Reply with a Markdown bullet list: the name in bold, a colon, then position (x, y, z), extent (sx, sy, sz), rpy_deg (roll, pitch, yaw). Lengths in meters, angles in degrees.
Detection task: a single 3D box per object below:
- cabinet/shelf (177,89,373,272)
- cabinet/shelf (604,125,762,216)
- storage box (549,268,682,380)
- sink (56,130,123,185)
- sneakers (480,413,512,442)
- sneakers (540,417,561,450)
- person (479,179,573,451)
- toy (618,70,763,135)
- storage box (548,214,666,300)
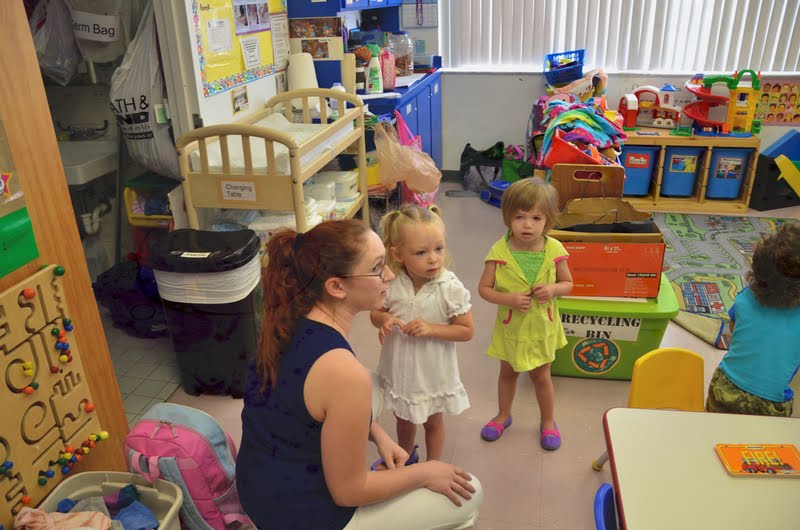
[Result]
- **cabinet/shelf**: position (-0.742, -0.593, 3.773), extent (0.712, 0.850, 1.376), rpy_deg (2, 26, 10)
- **cabinet/shelf**: position (2.337, -0.774, 4.708), extent (0.861, 0.492, 0.299), rpy_deg (1, 17, 6)
- **storage box**: position (1.143, 0.328, 3.227), extent (0.610, 0.369, 0.449), rpy_deg (2, 30, 6)
- **sink**: position (-1.817, -0.638, 3.445), extent (0.348, 0.081, 0.325), rpy_deg (29, 38, 31)
- **sneakers**: position (0.465, 0.795, 2.867), extent (0.079, 0.054, 0.149), rpy_deg (9, 19, 39)
- **sneakers**: position (0.726, 0.813, 2.788), extent (0.068, 0.044, 0.165), rpy_deg (-3, 25, 5)
- **person**: position (0.588, 0.224, 2.755), extent (0.418, 1.206, 0.475), rpy_deg (4, 25, 11)
- **toy**: position (2.501, -1.366, 4.962), extent (0.708, 0.390, 0.412), rpy_deg (5, 23, 17)
- **storage box**: position (1.111, -0.107, 3.010), extent (0.550, 0.352, 0.386), rpy_deg (-1, 19, 8)
